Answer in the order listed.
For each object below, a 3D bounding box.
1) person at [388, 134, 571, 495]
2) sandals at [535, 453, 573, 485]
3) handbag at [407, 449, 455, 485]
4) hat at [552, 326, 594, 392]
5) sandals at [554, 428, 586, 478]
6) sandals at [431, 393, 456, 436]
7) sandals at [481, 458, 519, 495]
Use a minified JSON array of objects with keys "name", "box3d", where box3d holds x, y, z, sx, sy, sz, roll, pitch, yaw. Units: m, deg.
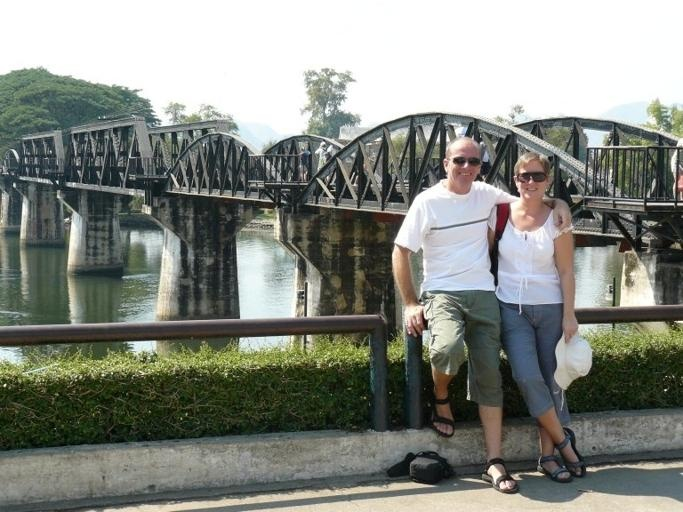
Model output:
[{"name":"person","box3d":[1.021,0.456,7.395,0.997,3.061,0.592,-1,-1,11]},{"name":"sandals","box3d":[1.842,1.852,7.272,0.142,0.121,0.296,-15,17,-27]},{"name":"handbag","box3d":[0.781,1.832,7.271,0.311,0.275,0.215,6,2,-1]},{"name":"hat","box3d":[2.027,0.922,7.316,0.375,0.446,0.162,8,-4,-37]},{"name":"sandals","box3d":[1.982,1.685,7.323,0.172,0.520,0.075,-26,-15,11]},{"name":"sandals","box3d":[0.896,1.456,7.572,0.143,0.160,0.417,-6,20,-12]},{"name":"sandals","box3d":[1.344,1.877,7.079,0.144,0.169,0.412,-5,3,-14]}]
